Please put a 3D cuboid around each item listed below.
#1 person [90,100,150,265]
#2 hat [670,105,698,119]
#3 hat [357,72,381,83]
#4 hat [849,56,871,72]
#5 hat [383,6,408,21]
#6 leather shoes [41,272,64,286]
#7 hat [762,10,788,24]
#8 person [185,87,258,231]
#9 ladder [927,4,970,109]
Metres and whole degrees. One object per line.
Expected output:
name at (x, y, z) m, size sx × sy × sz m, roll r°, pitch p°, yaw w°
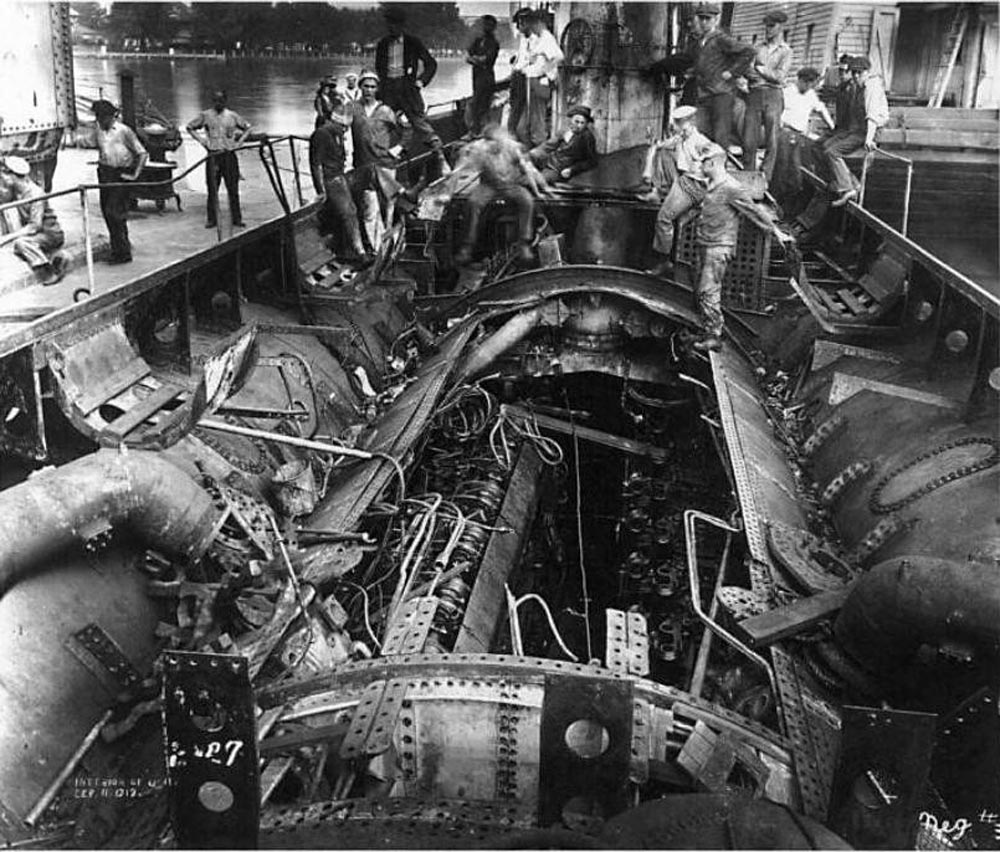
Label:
person at (-3.301, -2.185, 7.489) m, size 0.429 × 1.263 × 1.043 m, roll -8°, pitch 25°, yaw -21°
hat at (1.809, -3.060, 8.390) m, size 0.201 × 0.160 × 0.282 m, roll 4°, pitch 24°, yaw 5°
hat at (-1.278, -3.437, 8.393) m, size 0.183 × 0.127 × 0.199 m, roll -3°, pitch 25°, yaw -10°
hat at (3.186, -3.215, 7.558) m, size 0.112 × 0.083 × 0.136 m, roll -5°, pitch 23°, yaw 11°
hat at (-0.918, -3.597, 7.449) m, size 0.157 × 0.125 × 0.225 m, roll 8°, pitch 25°, yaw 14°
leather shoes at (-3.497, -1.163, 6.703) m, size 0.177 × 0.065 × 0.143 m, roll -21°, pitch 33°, yaw -40°
hat at (2.601, -3.865, 8.066) m, size 0.198 × 0.122 × 0.260 m, roll 8°, pitch 25°, yaw 14°
person at (-2.622, -2.452, 8.056) m, size 0.547 × 1.237 × 1.535 m, roll -7°, pitch 25°, yaw -18°
ladder at (3.747, -3.070, 7.138) m, size 0.177 × 0.789 × 0.658 m, roll 11°, pitch 25°, yaw 23°
